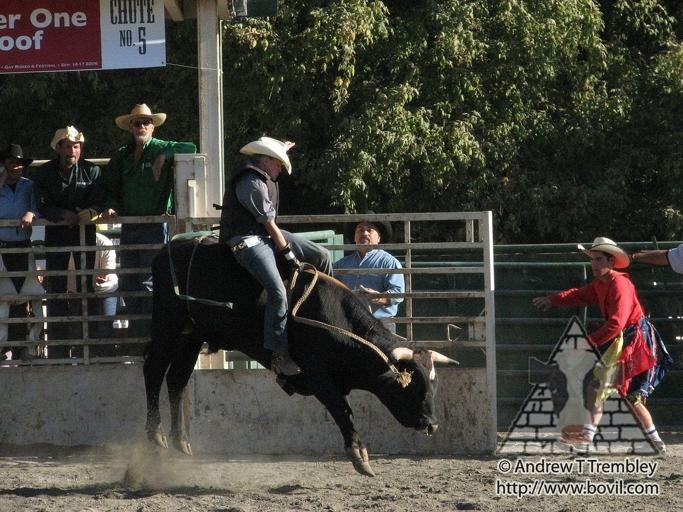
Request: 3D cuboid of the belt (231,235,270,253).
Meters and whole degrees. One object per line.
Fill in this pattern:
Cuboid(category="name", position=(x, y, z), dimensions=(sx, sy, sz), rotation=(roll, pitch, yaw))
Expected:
Cuboid(category="belt", position=(-1.137, -0.177, 21.689), dimensions=(0.446, 0.215, 0.140), rotation=(0, 2, 2))

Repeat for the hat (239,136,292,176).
Cuboid(category="hat", position=(-0.914, -1.353, 21.922), dimensions=(0.550, 0.341, 0.509), rotation=(23, 0, -17))

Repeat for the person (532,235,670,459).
Cuboid(category="person", position=(3.592, 1.101, 22.919), dimensions=(1.523, 2.739, 0.966), rotation=(1, 2, 11))

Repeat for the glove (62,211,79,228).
Cuboid(category="glove", position=(-3.544, -0.508, 22.690), dimensions=(0.146, 0.203, 0.070), rotation=(-1, -3, -25))

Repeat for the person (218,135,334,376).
Cuboid(category="person", position=(-0.884, -0.024, 21.810), dimensions=(1.304, 2.968, 0.645), rotation=(0, 2, -1))

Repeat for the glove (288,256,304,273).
Cuboid(category="glove", position=(-0.574, 0.069, 21.730), dimensions=(0.218, 0.184, 0.099), rotation=(-2, 3, -43))

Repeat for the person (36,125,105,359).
Cuboid(category="person", position=(-3.614, -0.205, 22.942), dimensions=(0.869, 3.011, 0.635), rotation=(0, 2, -9))

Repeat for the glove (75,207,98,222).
Cuboid(category="glove", position=(-3.334, -0.555, 22.732), dimensions=(0.164, 0.206, 0.097), rotation=(3, 32, -9))
